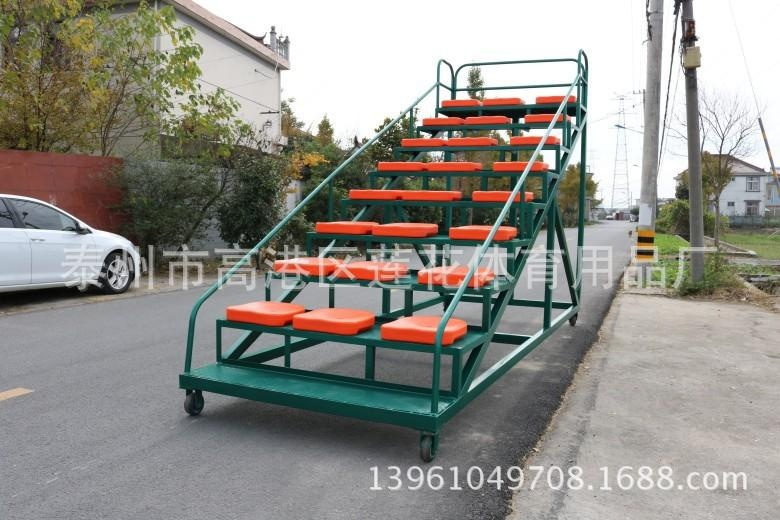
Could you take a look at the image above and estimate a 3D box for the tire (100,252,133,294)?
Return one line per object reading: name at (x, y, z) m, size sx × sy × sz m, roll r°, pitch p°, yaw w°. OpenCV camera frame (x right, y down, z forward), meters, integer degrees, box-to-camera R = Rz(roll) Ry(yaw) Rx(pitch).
tire at (-5.984, 0.264, 12.827) m, size 0.324 × 0.861 × 0.877 m, roll 5°, pitch 5°, yaw 18°
